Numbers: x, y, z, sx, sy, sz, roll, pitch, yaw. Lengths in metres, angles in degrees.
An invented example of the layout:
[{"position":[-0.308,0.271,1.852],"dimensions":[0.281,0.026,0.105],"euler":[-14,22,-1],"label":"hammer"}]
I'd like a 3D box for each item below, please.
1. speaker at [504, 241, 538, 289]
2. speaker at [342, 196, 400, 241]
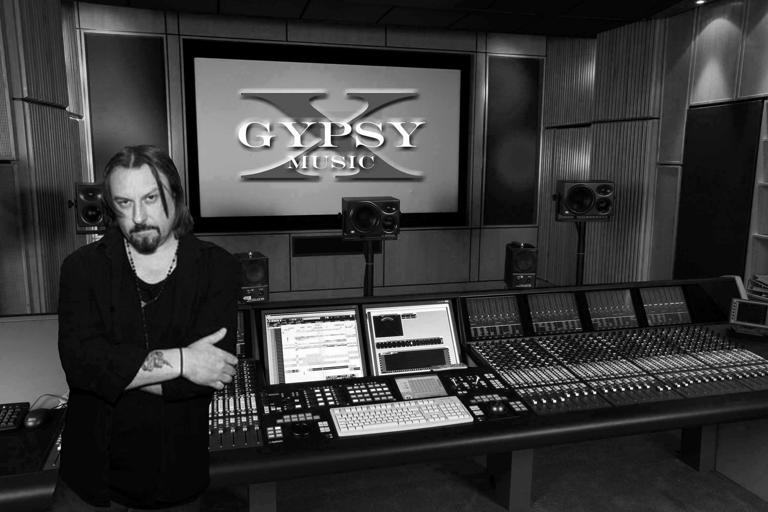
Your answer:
[{"position":[1.012,0.095,4.178],"dimensions":[0.225,0.360,0.548],"euler":[1,11,13],"label":"speaker"},{"position":[-0.084,-0.249,3.858],"dimensions":[0.485,0.326,0.274],"euler":[-1,7,-5],"label":"speaker"}]
